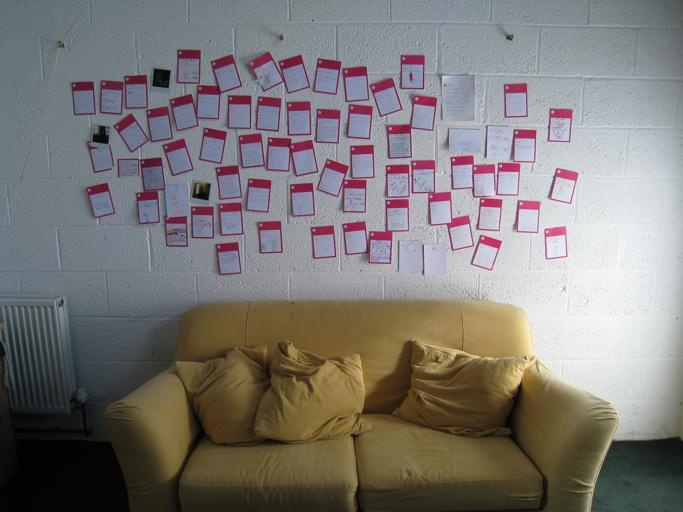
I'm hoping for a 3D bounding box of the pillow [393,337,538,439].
[{"bbox_3d":[0.632,0.520,2.848,0.740,0.540,0.398,7,12,20],"label":"pillow"}]

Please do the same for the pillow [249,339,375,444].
[{"bbox_3d":[-0.140,0.636,2.638,0.490,0.167,0.483,2,52,-4],"label":"pillow"}]
